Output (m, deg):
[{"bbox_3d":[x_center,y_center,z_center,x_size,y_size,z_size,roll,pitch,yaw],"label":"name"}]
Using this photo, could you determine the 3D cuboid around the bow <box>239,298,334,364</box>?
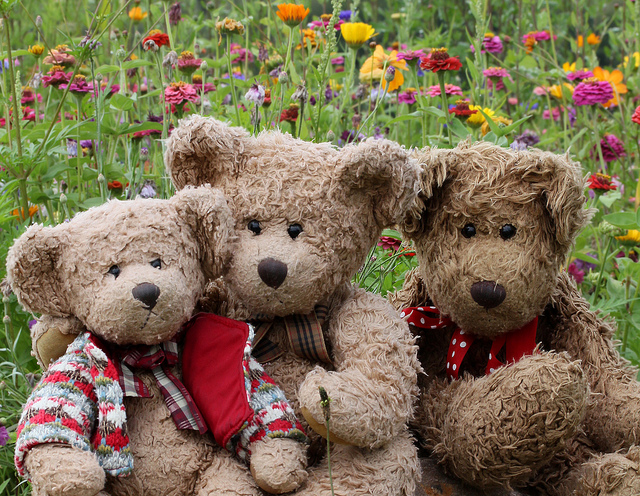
[{"bbox_3d":[-0.083,0.205,2.087,0.232,0.287,0.153,-2,-1,5],"label":"bow"}]

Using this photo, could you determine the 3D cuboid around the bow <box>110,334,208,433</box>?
[{"bbox_3d":[-0.399,0.340,1.887,0.170,0.074,0.252,-12,68,-31],"label":"bow"}]

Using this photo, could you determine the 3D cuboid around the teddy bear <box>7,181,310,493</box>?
[{"bbox_3d":[-0.354,0.249,2.145,0.747,0.981,0.673,-11,7,-21],"label":"teddy bear"}]

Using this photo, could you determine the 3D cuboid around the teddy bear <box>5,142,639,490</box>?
[{"bbox_3d":[0.061,0.226,1.928,1.602,0.797,0.633,-2,29,-13],"label":"teddy bear"}]

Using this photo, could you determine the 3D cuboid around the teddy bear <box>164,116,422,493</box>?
[{"bbox_3d":[-0.006,0.131,2.232,0.799,1.266,0.818,0,9,7],"label":"teddy bear"}]
